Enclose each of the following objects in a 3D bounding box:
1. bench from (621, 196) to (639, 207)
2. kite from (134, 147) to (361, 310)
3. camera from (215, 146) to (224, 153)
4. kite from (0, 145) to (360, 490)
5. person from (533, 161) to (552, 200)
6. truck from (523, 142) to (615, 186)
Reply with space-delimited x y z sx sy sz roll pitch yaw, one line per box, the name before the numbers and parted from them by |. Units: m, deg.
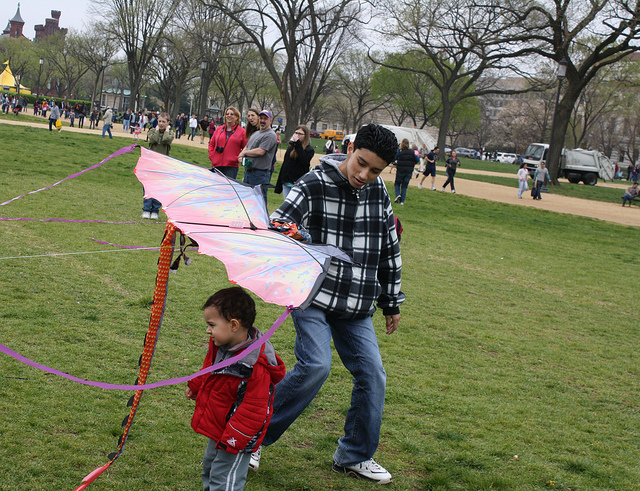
bench | 14.927 -2.141 28.015 0.687 0.407 1.309 13 8 27
kite | -0.401 -0.145 3.596 1.074 0.126 1.976 0 28 -37
camera | -1.686 -1.650 9.922 0.163 0.111 0.089 2 1 7
kite | -0.706 0.574 3.589 1.263 2.223 1.541 6 8 -23
person | 9.770 -2.929 25.822 0.472 1.267 1.890 12 8 20
truck | 17.140 -5.431 39.245 4.893 1.860 1.693 9 10 4
